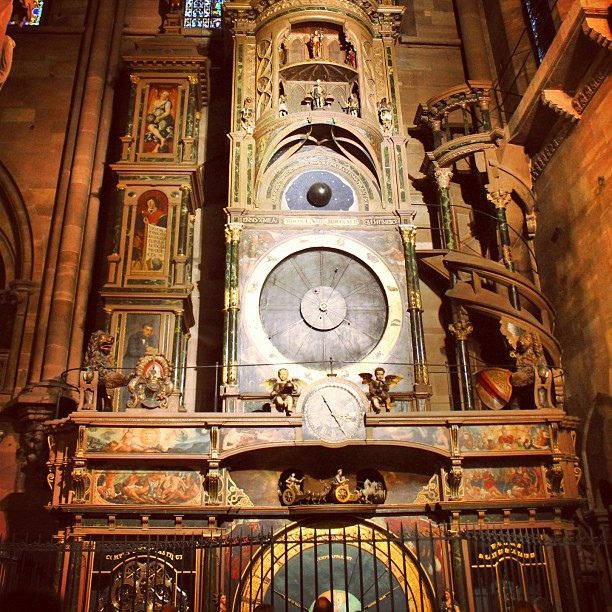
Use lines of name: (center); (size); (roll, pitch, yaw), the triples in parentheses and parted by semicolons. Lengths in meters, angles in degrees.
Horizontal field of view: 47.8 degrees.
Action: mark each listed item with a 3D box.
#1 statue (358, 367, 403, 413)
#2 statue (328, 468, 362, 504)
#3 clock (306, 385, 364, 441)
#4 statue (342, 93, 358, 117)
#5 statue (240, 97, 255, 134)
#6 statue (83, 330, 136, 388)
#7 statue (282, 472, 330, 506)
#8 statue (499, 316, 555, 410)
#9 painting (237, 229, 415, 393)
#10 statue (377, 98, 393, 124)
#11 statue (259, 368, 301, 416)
statue: (1.185, 1.439, 11.681); (0.919, 0.690, 0.360); (1, -5, 8)
statue: (0.596, 2.916, 10.997); (0.413, 0.348, 0.158); (20, -37, -21)
clock: (0.358, 1.791, 11.190); (1.211, 0.988, 0.290); (11, -17, -31)
statue: (1.052, -4.620, 15.678); (0.293, 0.915, 0.194); (11, -38, -19)
statue: (-1.303, -4.246, 15.328); (0.287, 1.041, 0.248); (2, -36, -7)
statue: (-3.543, 1.018, 12.263); (0.777, 1.183, 0.791); (3, -34, -9)
statue: (-0.026, 2.976, 11.033); (0.740, 0.562, 0.500); (-1, -33, -2)
statue: (3.988, 1.066, 12.400); (0.673, 1.733, 0.759); (0, -46, 6)
painting: (0.322, 0.236, 13.406); (4.548, 3.690, 0.096); (-1, -33, -3)
statue: (1.775, -4.373, 15.535); (0.248, 0.702, 0.230); (23, -43, -32)
statue: (-0.405, 1.501, 11.616); (1.040, 0.846, 0.648); (3, -29, -5)
